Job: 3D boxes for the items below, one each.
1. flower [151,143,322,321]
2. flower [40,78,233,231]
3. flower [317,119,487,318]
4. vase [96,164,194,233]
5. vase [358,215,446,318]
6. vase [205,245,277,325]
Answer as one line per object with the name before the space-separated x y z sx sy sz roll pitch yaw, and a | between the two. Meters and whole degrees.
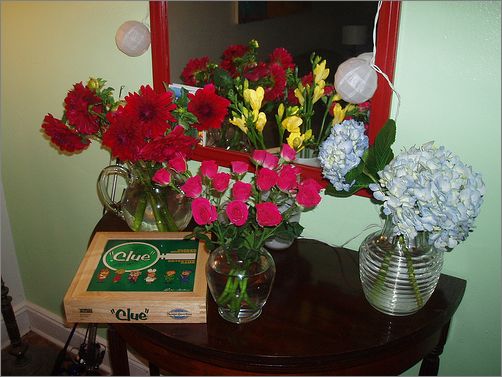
flower | 0.015 0.133 0.918 0.317 0.421 0.359 3 -2 -13
flower | -0.299 -0.027 1.169 0.501 0.541 0.449 1 20 -9
flower | 0.354 0.088 0.890 0.360 0.441 0.309 5 19 14
vase | -0.348 0.014 1.108 0.221 0.219 0.161 -1 27 -31
vase | 0.361 0.173 0.925 0.161 0.251 0.162 13 11 17
vase | -0.024 0.217 0.929 0.154 0.162 0.174 0 14 -1
